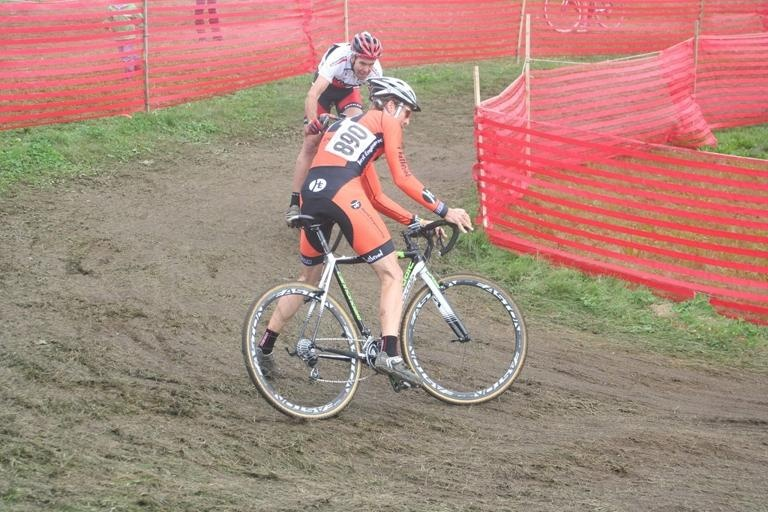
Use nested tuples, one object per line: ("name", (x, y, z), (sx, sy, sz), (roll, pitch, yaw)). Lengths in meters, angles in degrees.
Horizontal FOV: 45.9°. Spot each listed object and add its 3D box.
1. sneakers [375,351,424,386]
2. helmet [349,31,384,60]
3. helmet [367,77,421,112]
("sneakers", (0.167, 1.139, 9.241), (0.664, 0.190, 0.199), (17, 1, -7))
("helmet", (-0.231, -2.481, 10.756), (0.389, 0.172, 0.411), (-3, 30, -22))
("helmet", (0.102, -1.709, 9.472), (0.629, 0.200, 0.333), (8, 10, -3))
